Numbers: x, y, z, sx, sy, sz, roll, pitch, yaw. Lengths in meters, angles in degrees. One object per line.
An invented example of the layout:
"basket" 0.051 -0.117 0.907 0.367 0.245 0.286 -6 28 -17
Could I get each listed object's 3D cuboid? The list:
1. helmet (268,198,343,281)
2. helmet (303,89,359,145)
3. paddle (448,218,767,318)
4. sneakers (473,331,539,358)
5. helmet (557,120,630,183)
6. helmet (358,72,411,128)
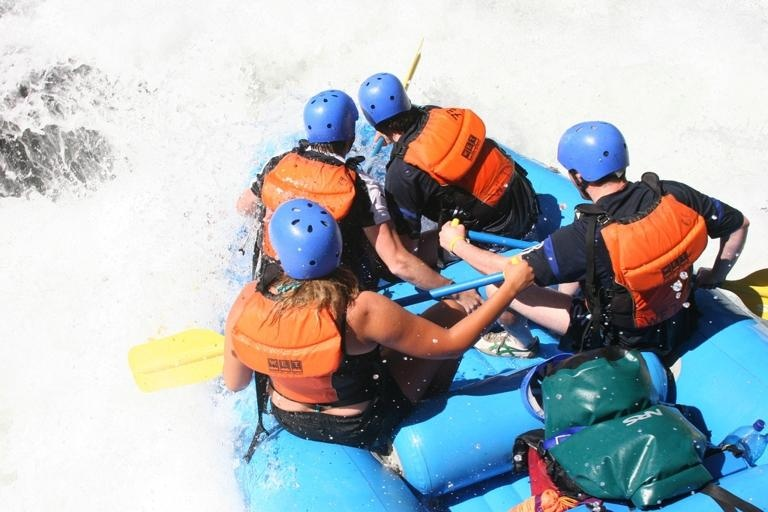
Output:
"helmet" -0.612 -0.158 5.865 0.423 0.458 0.626 -6 71 -19
"helmet" -0.450 -1.214 6.834 0.346 0.402 0.524 3 48 14
"paddle" 2.191 0.141 6.845 2.069 0.405 1.205 14 29 24
"sneakers" 1.059 0.778 6.627 0.515 0.233 0.240 8 26 3
"helmet" 1.659 -0.900 6.161 0.411 0.520 0.518 -23 25 -32
"helmet" 0.026 -1.462 6.936 0.377 0.459 0.358 57 22 -15
